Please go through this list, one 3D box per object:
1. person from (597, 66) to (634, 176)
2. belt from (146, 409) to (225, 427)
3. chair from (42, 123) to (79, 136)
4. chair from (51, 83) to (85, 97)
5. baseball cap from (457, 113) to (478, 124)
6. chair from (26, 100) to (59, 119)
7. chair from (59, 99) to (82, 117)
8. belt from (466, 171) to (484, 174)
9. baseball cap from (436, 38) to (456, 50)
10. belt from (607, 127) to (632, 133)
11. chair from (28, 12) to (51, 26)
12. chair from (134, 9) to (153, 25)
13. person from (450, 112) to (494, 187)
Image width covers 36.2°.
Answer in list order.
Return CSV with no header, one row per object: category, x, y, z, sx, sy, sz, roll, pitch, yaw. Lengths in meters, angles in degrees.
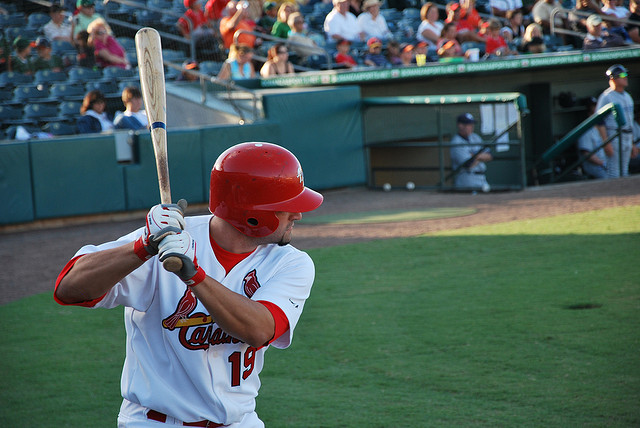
person,4.045,-1.294,13.402,0.458,1.496,1.077,-1,5,17
belt,-1.041,1.579,7.582,0.569,0.150,0.029,-2,5,-1
chair,-3.535,-1.169,13.427,0.266,0.117,0.319,1,-6,-4
chair,-3.672,-1.821,14.384,0.452,0.176,0.143,-4,5,-23
baseball cap,2.099,-1.376,13.942,0.215,0.097,0.146,-7,11,-6
chair,-3.939,-1.517,14.051,0.481,0.270,0.328,-4,5,-20
chair,-3.570,-1.548,14.143,0.323,0.258,0.385,-3,4,-12
belt,2.228,-0.599,13.944,0.230,0.039,0.062,-1,4,9
baseball cap,1.985,-2.696,15.388,0.301,0.162,0.231,-13,12,30
belt,4.097,-1.149,13.203,0.360,0.086,0.212,-4,4,-21
chair,-4.509,-3.161,15.840,0.346,0.243,0.331,-3,5,-15
chair,-3.004,-3.426,16.907,0.285,0.324,0.284,-12,24,-34
person,2.166,-0.942,14.010,0.333,1.061,0.623,-6,6,-33
